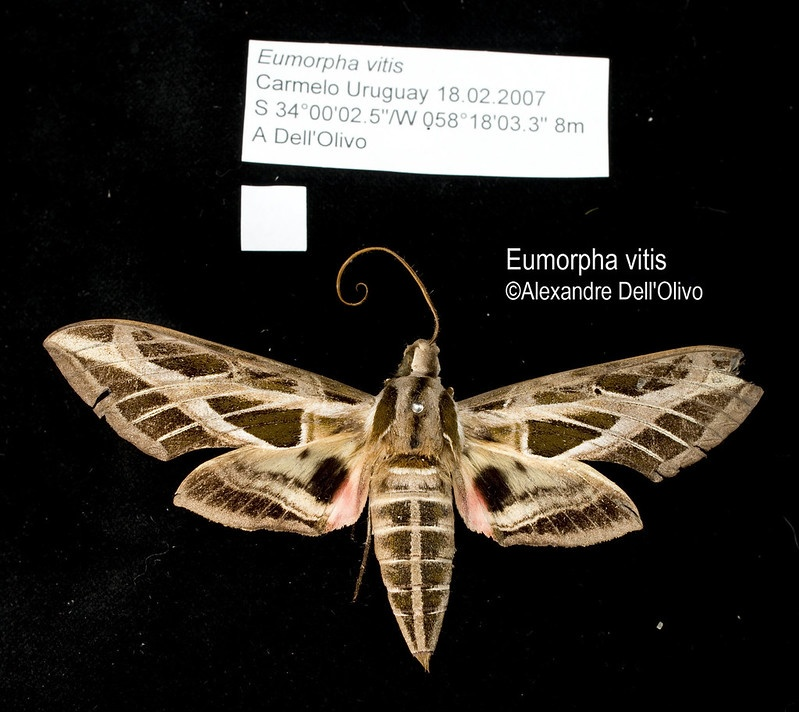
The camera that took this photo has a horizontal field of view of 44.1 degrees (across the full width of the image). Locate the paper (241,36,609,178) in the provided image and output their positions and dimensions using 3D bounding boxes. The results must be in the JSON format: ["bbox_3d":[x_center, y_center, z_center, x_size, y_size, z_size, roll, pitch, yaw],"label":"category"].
[{"bbox_3d":[0.027,-0.478,1.895,0.874,0.007,0.260,0,88,-2],"label":"paper"}]
